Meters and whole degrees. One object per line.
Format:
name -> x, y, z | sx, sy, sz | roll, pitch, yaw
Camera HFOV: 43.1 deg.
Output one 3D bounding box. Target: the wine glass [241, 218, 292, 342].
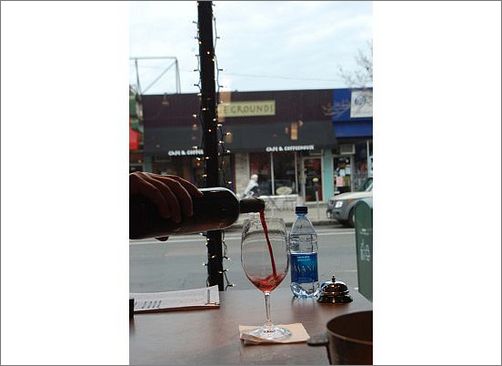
wine glass -> 0.039, 0.234, 1.698 | 0.126, 0.304, 0.248 | -2, 12, -1
